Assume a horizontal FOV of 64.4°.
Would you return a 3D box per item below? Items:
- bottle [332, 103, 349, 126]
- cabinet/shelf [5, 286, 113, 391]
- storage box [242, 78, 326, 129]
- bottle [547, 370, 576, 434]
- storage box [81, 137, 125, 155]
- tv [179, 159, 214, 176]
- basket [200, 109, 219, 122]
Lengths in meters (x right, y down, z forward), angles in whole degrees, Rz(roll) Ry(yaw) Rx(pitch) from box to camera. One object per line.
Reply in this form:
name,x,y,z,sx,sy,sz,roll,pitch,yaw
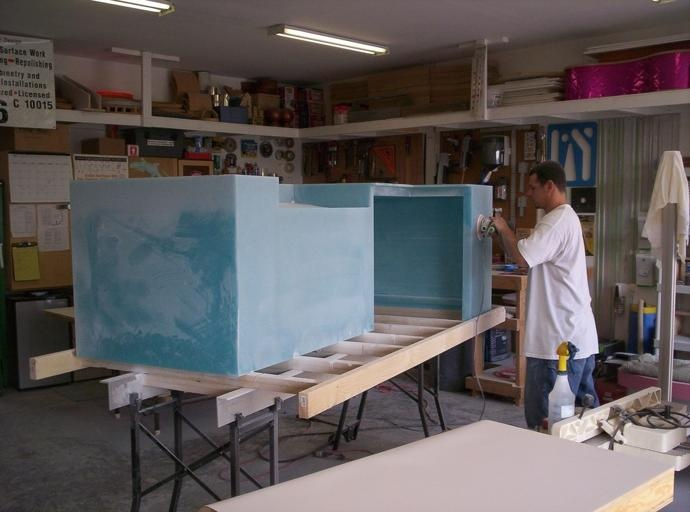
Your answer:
bottle,-0.034,-2.012,7.793,0.209,0.317,0.463,2,7,-2
cabinet/shelf,-3.210,0.922,5.996,0.831,1.028,0.441,-2,8,-30
storage box,-0.875,-2.322,8.272,1.359,0.750,0.675,0,7,-21
bottle,0.904,0.625,2.280,0.102,0.264,0.293,5,8,24
storage box,-2.880,-1.306,6.590,0.329,0.200,0.336,5,5,37
tv,-1.906,-1.155,7.077,0.460,0.198,0.277,-1,8,-27
basket,-1.793,-1.886,7.307,0.201,0.180,0.328,2,7,2
